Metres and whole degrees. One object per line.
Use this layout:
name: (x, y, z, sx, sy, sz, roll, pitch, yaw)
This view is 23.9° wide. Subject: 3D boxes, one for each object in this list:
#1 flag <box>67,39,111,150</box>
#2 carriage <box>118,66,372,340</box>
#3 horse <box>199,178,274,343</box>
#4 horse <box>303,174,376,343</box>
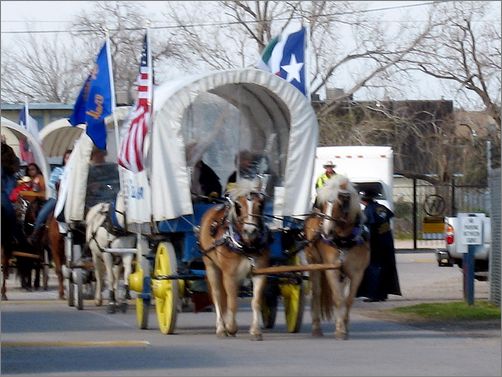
flag: (-3.439, -1.953, 25.492, 0.797, 2.466, 1.516, 2, -7, -14)
carriage: (-0.574, 0.159, 23.256, 3.494, 4.592, 5.877, -6, 2, -14)
horse: (-0.193, 1.473, 22.190, 1.239, 2.770, 4.448, 1, -7, -8)
horse: (1.595, 1.281, 21.885, 1.039, 2.988, 1.161, 2, -7, -16)
